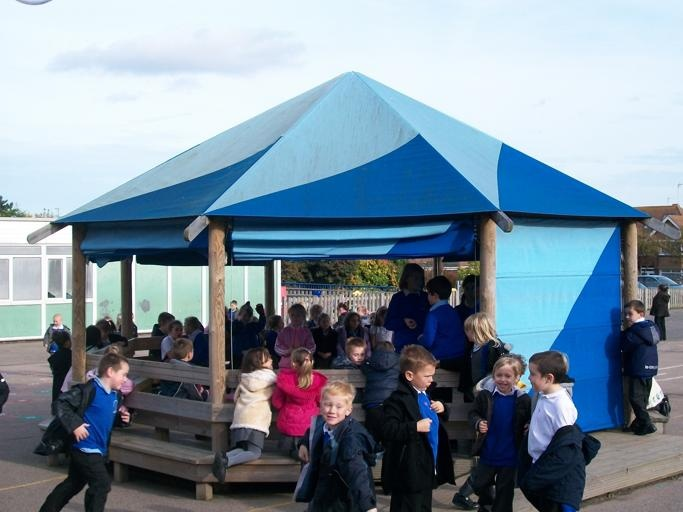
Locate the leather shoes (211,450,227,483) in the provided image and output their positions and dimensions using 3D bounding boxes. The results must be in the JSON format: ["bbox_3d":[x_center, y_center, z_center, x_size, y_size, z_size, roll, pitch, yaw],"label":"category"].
[{"bbox_3d":[-1.339,2.295,10.661,0.139,0.344,0.142,-1,-1,18],"label":"leather shoes"}]

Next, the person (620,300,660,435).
[{"bbox_3d":[3.919,1.447,12.688,0.450,1.728,0.266,-1,-2,16],"label":"person"}]

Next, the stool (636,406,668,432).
[{"bbox_3d":[4.260,2.200,13.100,0.308,0.253,0.487,-1,1,21],"label":"stool"}]

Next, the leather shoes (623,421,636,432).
[{"bbox_3d":[3.846,2.250,12.774,0.208,0.159,0.082,0,-6,37],"label":"leather shoes"}]
